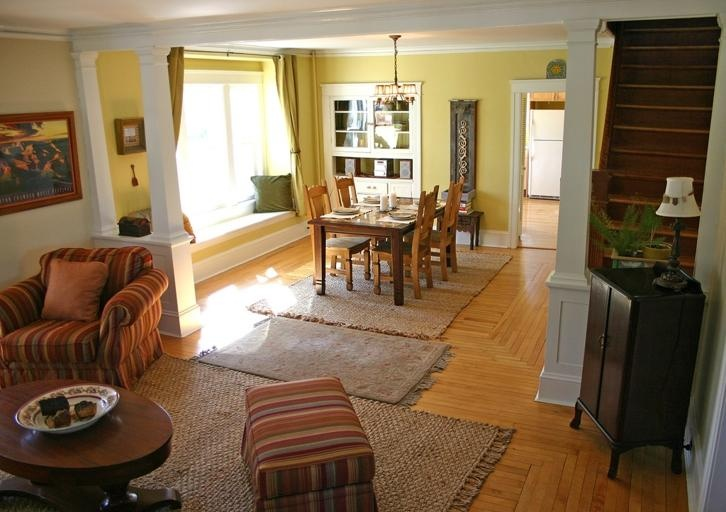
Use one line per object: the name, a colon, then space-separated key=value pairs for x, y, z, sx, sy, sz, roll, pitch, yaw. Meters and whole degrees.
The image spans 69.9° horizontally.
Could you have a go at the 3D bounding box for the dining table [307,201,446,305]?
dining table: x=0.045 y=-0.148 z=6.632 sx=1.134 sy=0.836 sz=1.452 roll=5 pitch=16 yaw=20

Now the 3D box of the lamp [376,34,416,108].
lamp: x=0.466 y=-2.675 z=7.471 sx=0.651 sy=0.944 sz=0.691 roll=1 pitch=16 yaw=8

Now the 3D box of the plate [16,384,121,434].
plate: x=-1.909 y=1.005 z=3.390 sx=0.563 sy=0.122 sz=0.561 roll=13 pitch=15 yaw=37

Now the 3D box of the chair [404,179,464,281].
chair: x=1.094 y=-0.331 z=6.930 sx=0.862 sy=1.058 sz=0.823 roll=7 pitch=17 yaw=12

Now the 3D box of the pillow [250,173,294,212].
pillow: x=-1.532 y=-1.037 z=8.592 sx=0.677 sy=0.603 sz=0.240 roll=-3 pitch=3 yaw=-16

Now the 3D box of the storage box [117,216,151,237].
storage box: x=-2.529 y=-0.321 z=5.722 sx=0.346 sy=0.217 sz=0.228 roll=4 pitch=10 yaw=18

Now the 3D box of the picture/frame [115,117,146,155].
picture/frame: x=-2.727 y=-1.404 z=6.083 sx=0.145 sy=0.361 sz=0.400 roll=7 pitch=20 yaw=18

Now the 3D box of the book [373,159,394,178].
book: x=0.378 y=-1.511 z=8.954 sx=0.335 sy=0.298 sz=0.321 roll=4 pitch=22 yaw=15

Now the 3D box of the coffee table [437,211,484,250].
coffee table: x=1.546 y=-0.461 z=8.415 sx=0.691 sy=0.612 sz=0.656 roll=6 pitch=16 yaw=25

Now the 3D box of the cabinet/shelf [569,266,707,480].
cabinet/shelf: x=1.947 y=0.812 z=3.703 sx=0.630 sy=1.326 sz=0.604 roll=-2 pitch=18 yaw=-3

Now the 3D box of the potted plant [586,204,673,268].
potted plant: x=2.217 y=-0.330 z=4.469 sx=0.677 sy=0.593 sz=0.848 roll=0 pitch=15 yaw=15

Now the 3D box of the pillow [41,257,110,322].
pillow: x=-2.585 y=0.303 z=4.687 sx=0.563 sy=0.503 sz=0.198 roll=3 pitch=-22 yaw=1
